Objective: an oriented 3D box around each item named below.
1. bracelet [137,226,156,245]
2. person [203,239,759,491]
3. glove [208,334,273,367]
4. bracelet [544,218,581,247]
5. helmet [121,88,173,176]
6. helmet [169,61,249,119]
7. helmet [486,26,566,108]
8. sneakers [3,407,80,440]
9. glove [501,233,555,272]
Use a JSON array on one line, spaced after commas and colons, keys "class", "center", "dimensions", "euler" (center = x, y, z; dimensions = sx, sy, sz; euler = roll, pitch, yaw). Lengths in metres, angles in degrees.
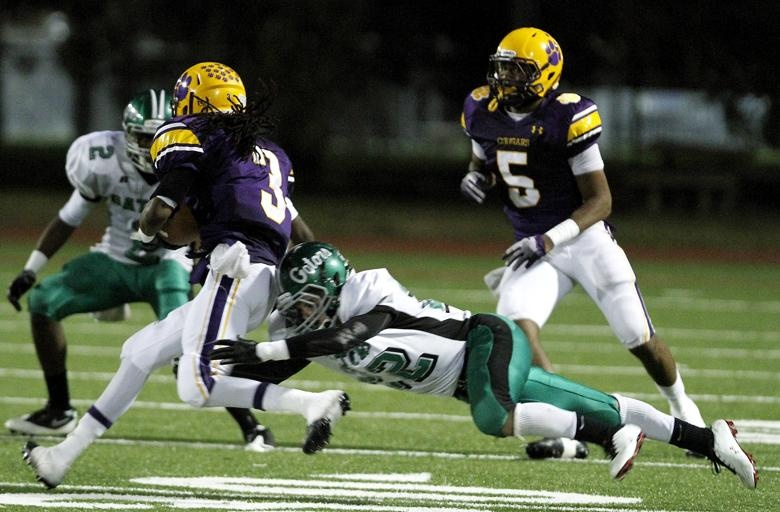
[{"class": "bracelet", "center": [-1.341, -0.106, 5.210], "dimensions": [0.119, 0.057, 0.085], "euler": [6, 45, -28]}, {"class": "person", "center": [0.628, 0.627, 5.291], "dimensions": [2.932, 0.856, 1.254], "euler": [12, -7, 3]}, {"class": "glove", "center": [-0.823, 0.512, 4.981], "dimensions": [0.351, 0.173, 0.170], "euler": [7, 12, 34]}, {"class": "bracelet", "center": [1.011, -0.133, 5.593], "dimensions": [0.210, 0.122, 0.079], "euler": [-27, -18, -13]}, {"class": "helmet", "center": [-1.480, -0.743, 5.854], "dimensions": [0.403, 0.423, 0.489], "euler": [-6, 39, -20]}, {"class": "helmet", "center": [-1.060, -0.912, 5.486], "dimensions": [0.396, 0.325, 0.323], "euler": [3, 1, 38]}, {"class": "helmet", "center": [0.716, -1.133, 5.775], "dimensions": [0.536, 0.406, 0.396], "euler": [-19, 24, -38]}, {"class": "sneakers", "center": [-2.127, 1.022, 6.004], "dimensions": [0.511, 0.200, 0.162], "euler": [5, 9, -6]}, {"class": "glove", "center": [0.805, -0.024, 5.630], "dimensions": [0.276, 0.167, 0.090], "euler": [-32, 2, 30]}]
